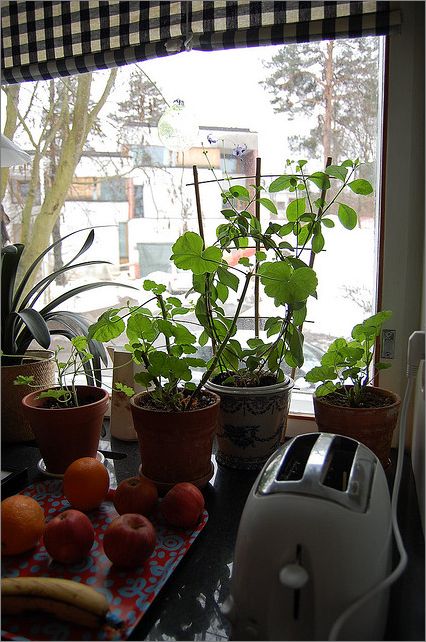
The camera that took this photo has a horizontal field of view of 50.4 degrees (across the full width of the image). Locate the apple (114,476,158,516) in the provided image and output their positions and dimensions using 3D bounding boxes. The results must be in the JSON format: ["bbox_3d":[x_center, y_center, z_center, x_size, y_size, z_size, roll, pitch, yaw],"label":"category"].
[{"bbox_3d":[-0.111,0.251,0.647,0.049,0.049,0.050,0,2,5],"label":"apple"}]

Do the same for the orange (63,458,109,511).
[{"bbox_3d":[-0.198,0.245,0.721,0.072,0.088,0.072,0,-8,-33],"label":"orange"}]

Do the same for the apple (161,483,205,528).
[{"bbox_3d":[-0.040,0.266,0.653,0.072,0.058,0.051,0,5,-20],"label":"apple"}]
